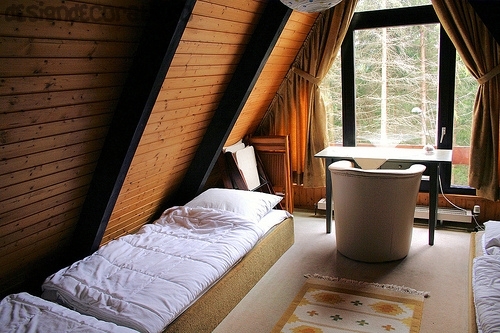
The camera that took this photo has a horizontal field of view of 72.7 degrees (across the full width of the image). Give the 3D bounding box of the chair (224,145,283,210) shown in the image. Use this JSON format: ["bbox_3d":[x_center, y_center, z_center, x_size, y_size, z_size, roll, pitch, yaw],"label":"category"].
[{"bbox_3d":[-0.074,0.163,4.327,0.721,0.831,0.334,-18,7,-43],"label":"chair"}]

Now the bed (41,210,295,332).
[{"bbox_3d":[-0.707,0.723,2.752,1.004,0.471,1.318,9,9,30],"label":"bed"}]
